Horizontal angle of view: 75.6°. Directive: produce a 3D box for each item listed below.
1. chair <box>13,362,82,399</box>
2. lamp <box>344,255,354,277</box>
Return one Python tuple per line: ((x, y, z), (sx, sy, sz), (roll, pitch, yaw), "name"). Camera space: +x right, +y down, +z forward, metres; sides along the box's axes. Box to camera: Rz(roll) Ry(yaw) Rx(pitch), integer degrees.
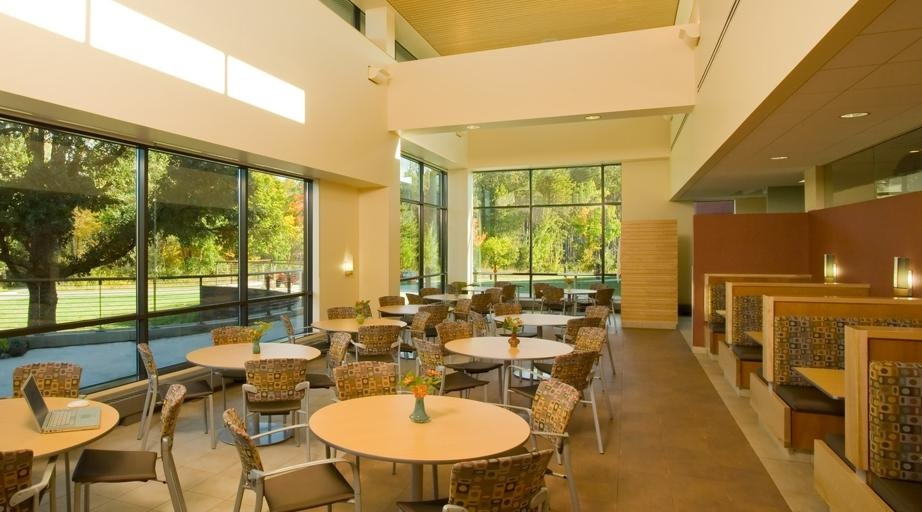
((-5.286, 1.573, 7.623), (0.875, 0.419, 0.329), (-1, -1, 14), "chair")
((-2.419, 0.194, 13.019), (0.087, 0.449, 0.348), (-1, -1, 14), "lamp")
